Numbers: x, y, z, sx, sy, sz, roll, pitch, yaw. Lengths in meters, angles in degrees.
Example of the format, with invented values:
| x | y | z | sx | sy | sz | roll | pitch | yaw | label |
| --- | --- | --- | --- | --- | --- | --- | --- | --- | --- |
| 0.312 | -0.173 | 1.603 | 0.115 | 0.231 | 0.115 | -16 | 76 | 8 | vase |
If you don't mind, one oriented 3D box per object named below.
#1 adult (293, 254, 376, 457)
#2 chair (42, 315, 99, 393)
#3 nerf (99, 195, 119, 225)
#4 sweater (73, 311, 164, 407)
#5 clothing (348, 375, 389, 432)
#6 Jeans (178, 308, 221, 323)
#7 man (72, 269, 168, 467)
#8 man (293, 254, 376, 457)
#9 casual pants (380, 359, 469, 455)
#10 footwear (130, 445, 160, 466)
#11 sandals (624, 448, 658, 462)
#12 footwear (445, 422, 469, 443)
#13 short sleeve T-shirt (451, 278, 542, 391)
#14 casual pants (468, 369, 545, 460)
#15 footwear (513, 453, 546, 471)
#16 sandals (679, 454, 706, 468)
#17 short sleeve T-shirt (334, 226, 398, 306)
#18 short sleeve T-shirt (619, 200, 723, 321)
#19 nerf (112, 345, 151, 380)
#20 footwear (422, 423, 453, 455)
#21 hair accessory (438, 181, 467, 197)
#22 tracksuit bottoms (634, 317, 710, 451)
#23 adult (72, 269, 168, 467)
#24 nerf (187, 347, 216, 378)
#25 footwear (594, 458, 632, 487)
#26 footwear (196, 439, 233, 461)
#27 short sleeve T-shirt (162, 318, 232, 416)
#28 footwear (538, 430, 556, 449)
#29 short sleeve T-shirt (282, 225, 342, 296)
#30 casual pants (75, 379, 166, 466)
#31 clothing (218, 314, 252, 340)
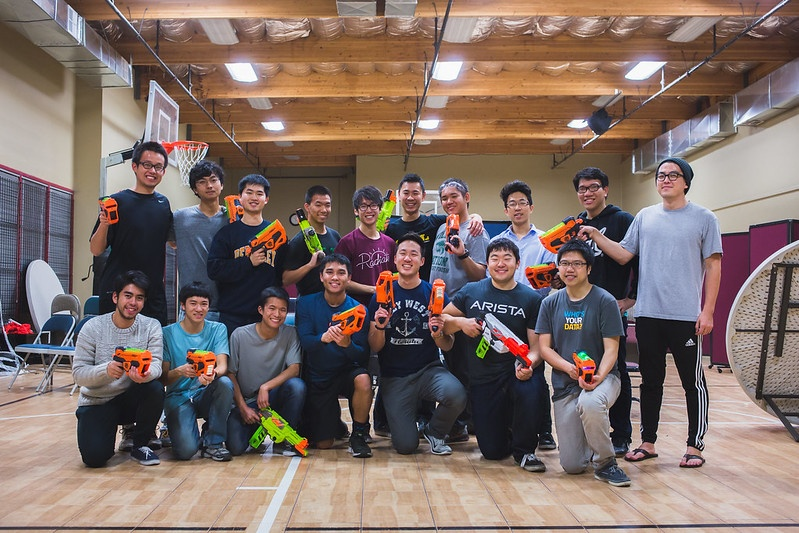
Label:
| x | y | z | sx | sy | sz | roll | pitch | yaw | label |
| --- | --- | --- | --- | --- | --- | --- | --- | --- | --- |
| -0.587 | 0.787 | 5.184 | 0.680 | 1.779 | 0.581 | 0 | 4 | -8 | adult |
| -4.288 | 1.083 | 7.394 | 0.571 | 0.698 | 0.593 | 5 | 20 | 21 | chair |
| -2.552 | -0.495 | 5.107 | 0.099 | 0.230 | 0.271 | -22 | 29 | -25 | nerf |
| -2.392 | 0.805 | 4.933 | 0.683 | 0.765 | 0.646 | 4 | -1 | -17 | sweater |
| -0.275 | 1.362 | 5.777 | 0.409 | 0.592 | 0.587 | 0 | 2 | -7 | clothing |
| -1.791 | 0.477 | 5.402 | 0.191 | 0.094 | 0.257 | 0 | 2 | 1 | Jeans |
| -2.349 | 0.860 | 4.851 | 0.687 | 1.606 | 0.423 | -1 | 4 | -21 | man |
| -0.587 | 0.787 | 5.184 | 0.680 | 1.779 | 0.581 | 0 | 4 | -8 | man |
| 0.252 | 1.310 | 5.347 | 0.820 | 0.852 | 0.464 | 0 | 8 | 18 | casual pants |
| -2.131 | 1.604 | 4.869 | 0.275 | 0.125 | 0.127 | 2 | 4 | 23 | footwear |
| 2.069 | 1.625 | 4.976 | 0.266 | 0.069 | 0.101 | 5 | -10 | -27 | sandals |
| 0.554 | 1.609 | 5.523 | 0.111 | 0.124 | 0.306 | -4 | -12 | 26 | footwear |
| 0.838 | 0.534 | 5.518 | 0.940 | 0.866 | 0.928 | 24 | 9 | 15 | short sleeve T-shirt |
| 0.857 | 1.345 | 5.154 | 0.750 | 0.932 | 0.704 | 1 | -22 | -3 | casual pants |
| 1.090 | 1.650 | 4.842 | 0.101 | 0.101 | 0.244 | 4 | -9 | -23 | footwear |
| 2.461 | 1.647 | 4.865 | 0.226 | 0.052 | 0.088 | -4 | 20 | 5 | sandals |
| -0.316 | 0.026 | 5.471 | 0.696 | 0.787 | 0.343 | 8 | -12 | -25 | short sleeve T-shirt |
| 2.325 | -0.034 | 4.983 | 0.773 | 0.992 | 0.278 | 2 | 4 | 22 | short sleeve T-shirt |
| -2.171 | 0.792 | 4.712 | 0.278 | 0.217 | 0.136 | 2 | 4 | 25 | nerf |
| 0.334 | 1.603 | 5.290 | 0.129 | 0.145 | 0.347 | 22 | 6 | -35 | footwear |
| 0.536 | -0.783 | 5.718 | 0.247 | 0.179 | 0.327 | 0 | 4 | 2 | hair accessory |
| 2.364 | 1.032 | 5.033 | 0.581 | 1.184 | 0.330 | 2 | 5 | 22 | tracksuit bottoms |
| -2.349 | 0.860 | 4.851 | 0.687 | 1.606 | 0.423 | -1 | 4 | -21 | adult |
| -1.639 | 0.830 | 4.972 | 0.268 | 0.256 | 0.153 | 5 | 0 | 14 | nerf |
| 1.674 | 1.660 | 4.611 | 0.123 | 0.141 | 0.323 | 2 | -10 | -25 | footwear |
| -1.598 | 1.616 | 5.050 | 0.331 | 0.146 | 0.119 | -4 | -8 | 36 | footwear |
| -1.776 | 0.917 | 5.052 | 0.644 | 0.737 | 0.396 | 20 | -14 | -11 | short sleeve T-shirt |
| 1.386 | 1.652 | 5.412 | 0.110 | 0.104 | 0.270 | -1 | -11 | 4 | footwear |
| -0.822 | -0.044 | 5.519 | 0.659 | 0.706 | 0.306 | 6 | -29 | -18 | short sleeve T-shirt |
| -2.397 | 1.230 | 4.927 | 0.733 | 0.795 | 0.654 | 4 | 3 | -10 | casual pants |
| -1.494 | 0.566 | 5.298 | 0.217 | 0.336 | 0.110 | -4 | -1 | 6 | clothing |
